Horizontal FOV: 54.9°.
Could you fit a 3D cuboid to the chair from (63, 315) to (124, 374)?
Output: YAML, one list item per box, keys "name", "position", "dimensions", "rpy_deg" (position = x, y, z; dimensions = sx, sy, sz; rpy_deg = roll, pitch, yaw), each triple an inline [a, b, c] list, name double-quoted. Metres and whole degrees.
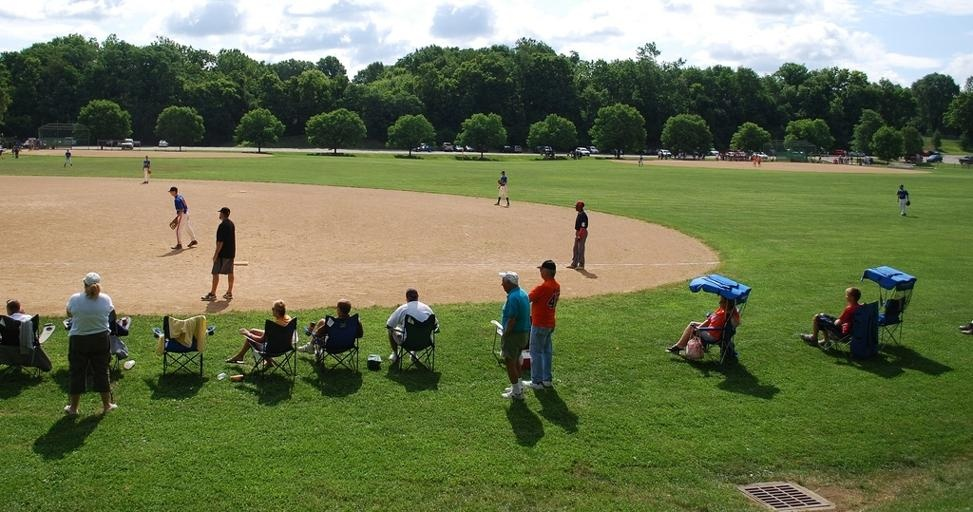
- name: "chair"
  position: [-22.118, 4.886, 51.948]
  dimensions: [3.495, 3.818, 3.018]
  rpy_deg: [0, 35, -24]

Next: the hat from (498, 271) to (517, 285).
- name: "hat"
  position: [1.341, 1.171, 51.497]
  dimensions: [0.879, 0.630, 0.935]
  rpy_deg: [-1, 8, -6]

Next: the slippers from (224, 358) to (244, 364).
- name: "slippers"
  position: [-13.976, 5.851, 52.294]
  dimensions: [0.921, 0.199, 0.322]
  rpy_deg: [3, 1, 10]

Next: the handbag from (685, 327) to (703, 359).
- name: "handbag"
  position: [11.737, 5.043, 52.841]
  dimensions: [0.963, 1.652, 0.570]
  rpy_deg: [4, 10, 20]

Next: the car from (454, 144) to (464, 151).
- name: "car"
  position: [-4.860, -19.930, 172.763]
  dimensions: [1.757, 0.648, 2.000]
  rpy_deg: [2, 7, -2]

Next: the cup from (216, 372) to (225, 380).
- name: "cup"
  position: [-14.545, 6.593, 51.749]
  dimensions: [0.467, 0.315, 0.332]
  rpy_deg: [-2, 9, -14]

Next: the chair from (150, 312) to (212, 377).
- name: "chair"
  position: [-16.705, 4.904, 51.954]
  dimensions: [2.865, 3.251, 1.403]
  rpy_deg: [-1, 10, -9]

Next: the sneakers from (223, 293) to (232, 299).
- name: "sneakers"
  position: [-15.625, 2.425, 56.946]
  dimensions: [0.650, 0.216, 0.253]
  rpy_deg: [2, 0, 3]

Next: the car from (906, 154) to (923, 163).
- name: "car"
  position: [67.966, -15.391, 148.080]
  dimensions: [1.934, 1.333, 2.858]
  rpy_deg: [-1, 5, 12]

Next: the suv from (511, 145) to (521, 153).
- name: "suv"
  position: [6.107, -20.633, 180.255]
  dimensions: [1.470, 0.974, 2.243]
  rpy_deg: [0, 14, -7]

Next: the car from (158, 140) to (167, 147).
- name: "car"
  position: [-58.273, -20.381, 169.306]
  dimensions: [2.355, 1.231, 3.019]
  rpy_deg: [-1, 6, -16]

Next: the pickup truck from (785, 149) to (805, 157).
- name: "pickup truck"
  position: [50.120, -16.790, 152.720]
  dimensions: [2.092, 0.424, 1.960]
  rpy_deg: [-2, 18, 2]
